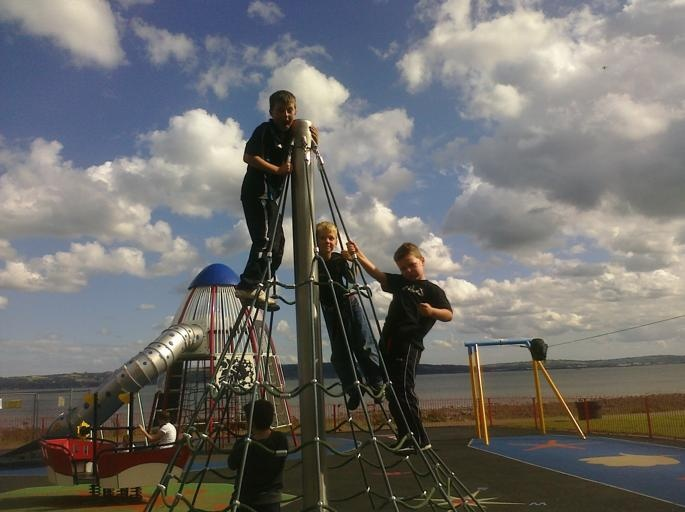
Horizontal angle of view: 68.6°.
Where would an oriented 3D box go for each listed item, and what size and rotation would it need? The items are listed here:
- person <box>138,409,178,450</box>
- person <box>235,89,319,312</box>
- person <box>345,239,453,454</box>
[{"bbox_3d":[-4.250,3.986,11.378,0.840,0.830,0.543,13,-17,-21],"label":"person"},{"bbox_3d":[-1.018,-0.700,6.644,0.787,2.804,1.006,-1,-16,-15],"label":"person"},{"bbox_3d":[0.841,1.107,6.586,1.197,2.713,1.121,-7,-16,9],"label":"person"}]
